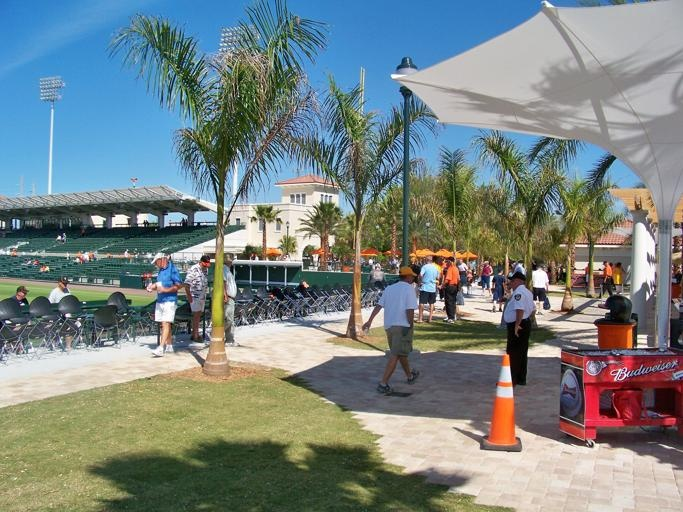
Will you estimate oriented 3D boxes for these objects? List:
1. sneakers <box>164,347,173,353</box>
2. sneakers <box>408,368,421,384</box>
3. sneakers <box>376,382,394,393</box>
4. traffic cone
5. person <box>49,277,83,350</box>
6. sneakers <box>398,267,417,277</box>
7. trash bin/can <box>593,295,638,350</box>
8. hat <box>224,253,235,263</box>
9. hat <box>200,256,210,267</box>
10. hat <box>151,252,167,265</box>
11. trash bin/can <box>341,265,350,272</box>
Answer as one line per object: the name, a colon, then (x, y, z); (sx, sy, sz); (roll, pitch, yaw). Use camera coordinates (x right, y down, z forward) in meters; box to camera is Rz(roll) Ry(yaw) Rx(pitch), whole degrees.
sneakers: (-3.597, 1.937, 11.839); (0.137, 0.214, 0.131); (1, 5, -5)
sneakers: (1.271, 2.155, 10.073); (0.101, 0.162, 0.324); (5, 10, 28)
sneakers: (0.719, 2.193, 9.475); (0.111, 0.166, 0.321); (2, -1, 44)
traffic cone: (2.027, 1.811, 7.170); (0.480, 1.139, 0.580); (2, 2, 19)
person: (-6.736, 1.587, 13.538); (0.592, 2.199, 0.703); (-20, -18, 26)
sneakers: (1.111, 0.277, 9.533); (0.223, 0.123, 0.148); (4, -1, -45)
trash bin/can: (4.656, 1.200, 9.697); (0.729, 1.066, 0.831); (-2, 0, -7)
hat: (-2.663, 0.107, 13.609); (0.224, 0.327, 0.239); (-2, 8, -29)
hat: (-3.060, 0.134, 12.756); (0.206, 0.299, 0.233); (0, 4, 30)
hat: (-5.933, 0.098, 18.328); (0.512, 0.278, 0.839); (-10, 7, 4)
trash bin/can: (0.281, 0.912, 41.250); (0.419, 0.507, 0.689); (-2, -5, 3)
